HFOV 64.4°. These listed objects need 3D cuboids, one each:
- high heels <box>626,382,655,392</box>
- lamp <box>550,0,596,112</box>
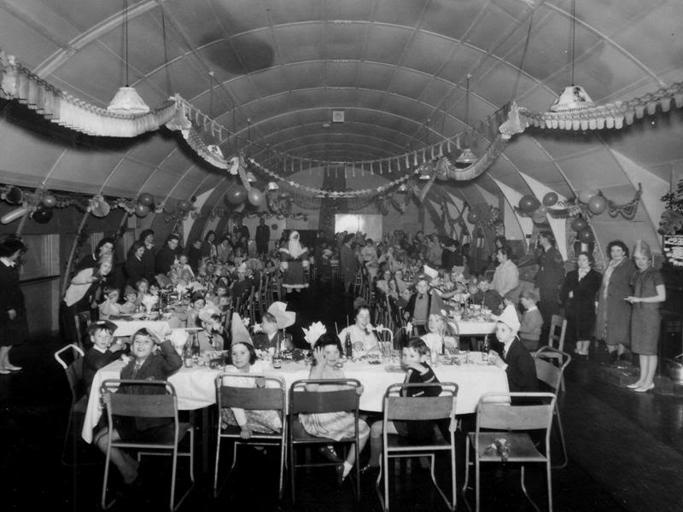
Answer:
[{"bbox_3d":[5.433,2.408,9.863,0.318,0.157,0.193,3,-3,2],"label":"high heels"},{"bbox_3d":[4.017,-3.191,9.615,0.618,2.126,2.067,-3,-8,23],"label":"lamp"}]
